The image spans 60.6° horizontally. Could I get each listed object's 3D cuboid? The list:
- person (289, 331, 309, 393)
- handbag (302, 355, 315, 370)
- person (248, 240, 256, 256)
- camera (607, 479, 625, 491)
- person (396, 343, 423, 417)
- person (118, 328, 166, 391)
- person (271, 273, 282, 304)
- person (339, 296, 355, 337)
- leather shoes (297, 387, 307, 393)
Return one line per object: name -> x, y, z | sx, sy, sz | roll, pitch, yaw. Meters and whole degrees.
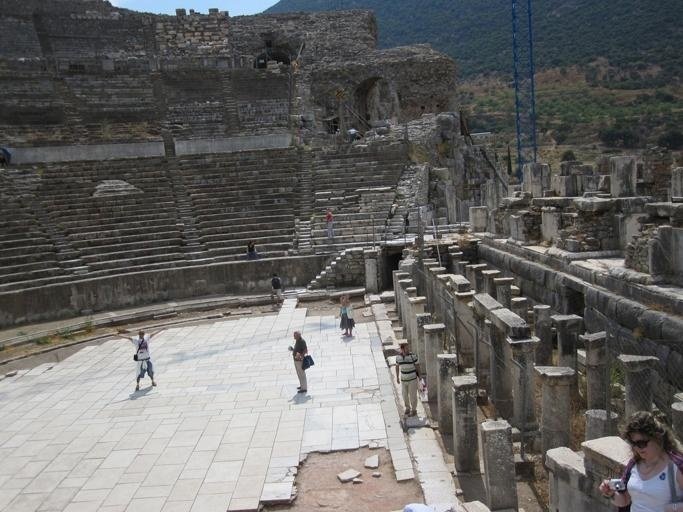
person -> -1.027, 2.445, 14.045 | 0.373, 1.584, 0.941 | -6, 13, -6
handbag -> -0.815, 2.559, 13.983 | 0.277, 0.386, 0.386 | 0, -18, -1
person -> -3.786, -0.328, 24.539 | 0.388, 0.609, 0.895 | -6, 12, -8
camera -> 3.285, 2.731, 6.952 | 0.145, 0.107, 0.053 | 5, 3, 14
person -> 1.376, 2.506, 12.026 | 0.389, 1.620, 0.366 | -5, 13, -1
person -> -5.575, 2.949, 16.294 | 1.434, 1.645, 0.440 | -5, 3, -37
person -> -2.536, 1.240, 22.640 | 0.327, 1.211, 1.142 | -5, 12, -4
person -> 0.148, 1.777, 17.911 | 0.382, 1.267, 0.871 | -4, 13, 0
leather shoes -> -0.962, 3.235, 14.043 | 0.091, 0.114, 0.292 | 2, 1, -38
